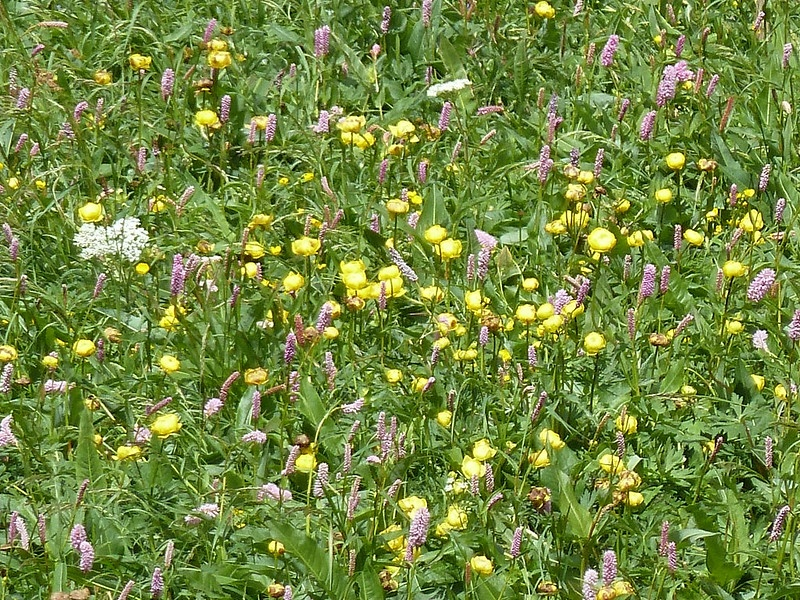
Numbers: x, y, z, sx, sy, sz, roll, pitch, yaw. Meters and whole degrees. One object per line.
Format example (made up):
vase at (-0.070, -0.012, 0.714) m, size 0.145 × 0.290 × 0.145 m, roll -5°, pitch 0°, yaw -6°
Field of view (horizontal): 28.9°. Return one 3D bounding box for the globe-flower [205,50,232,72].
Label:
globe-flower at (-0.725, -0.960, 6.242) m, size 0.085 × 0.038 × 0.110 m, roll 0°, pitch 59°, yaw 0°
